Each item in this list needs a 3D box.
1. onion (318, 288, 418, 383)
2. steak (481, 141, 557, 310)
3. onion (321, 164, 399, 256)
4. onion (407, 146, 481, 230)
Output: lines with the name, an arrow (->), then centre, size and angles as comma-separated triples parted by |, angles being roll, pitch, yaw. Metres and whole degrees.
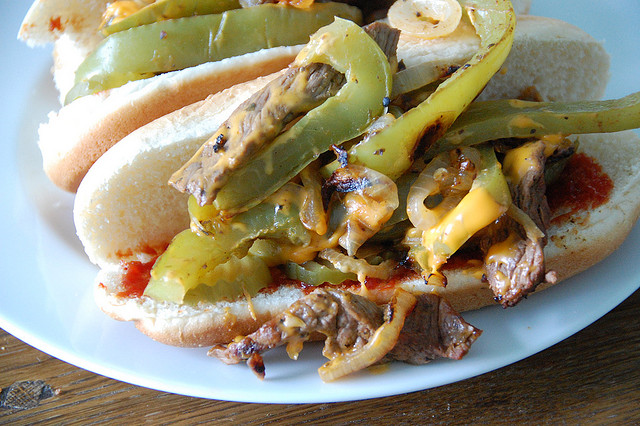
onion -> 0.217, 0.544, 2.844 | 0.536, 0.075, 0.157 | -44, 71, -7
steak -> 0.878, 0.029, 3.025 | 0.408, 0.172, 0.899 | 7, 55, 17
onion -> 0.152, -0.010, 2.800 | 0.351, 0.353, 0.099 | -28, 11, 28
onion -> 0.532, -0.109, 2.994 | 0.220, 0.180, 0.429 | 40, 93, 5
